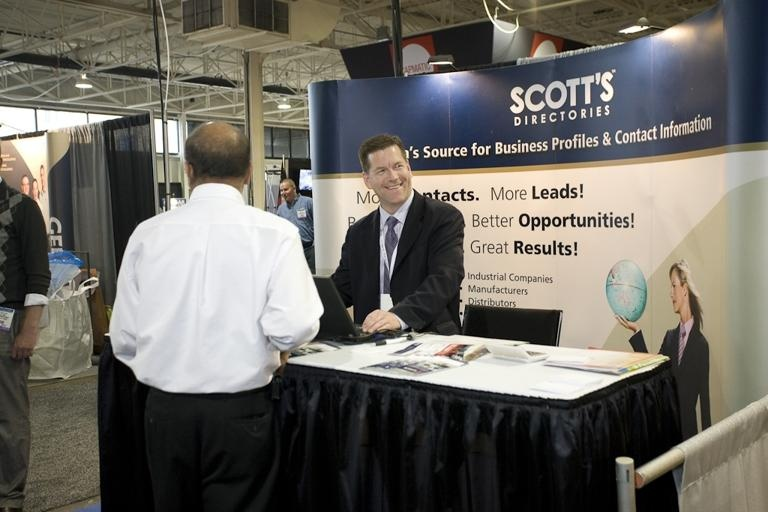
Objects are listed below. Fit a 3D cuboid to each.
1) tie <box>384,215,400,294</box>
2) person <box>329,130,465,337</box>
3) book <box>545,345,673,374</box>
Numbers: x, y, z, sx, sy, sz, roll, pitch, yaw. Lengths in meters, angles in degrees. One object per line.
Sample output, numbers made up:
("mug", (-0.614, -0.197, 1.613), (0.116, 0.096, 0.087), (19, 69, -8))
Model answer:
("tie", (0.045, -0.006, 3.427), (0.078, 0.460, 0.077), (2, -10, 3))
("person", (0.129, -0.029, 3.350), (0.664, 1.228, 0.541), (3, 16, -3))
("book", (0.910, 0.423, 2.472), (0.309, 0.061, 0.297), (6, 8, 34))
